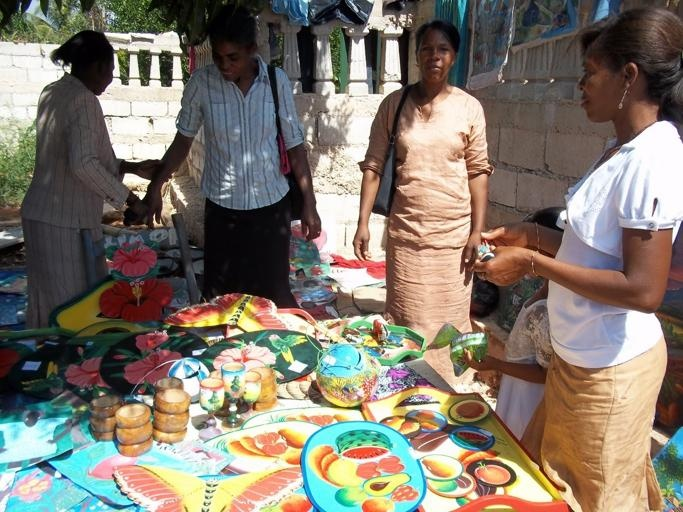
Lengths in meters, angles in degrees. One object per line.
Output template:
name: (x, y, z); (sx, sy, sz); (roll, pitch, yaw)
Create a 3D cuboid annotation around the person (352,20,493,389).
person: (0.518, -0.337, 3.806); (0.872, 2.397, 0.943); (0, 11, 0)

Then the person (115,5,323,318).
person: (-0.688, -0.596, 3.515); (0.857, 2.076, 0.942); (-1, 11, -9)

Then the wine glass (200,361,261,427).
wine glass: (-0.429, 0.483, 2.044); (0.202, 0.228, 0.273); (-12, 18, -35)

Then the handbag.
handbag: (0.305, -0.715, 3.487); (0.252, 0.838, 0.303); (2, 22, 6)

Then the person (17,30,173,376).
person: (-1.696, -0.488, 3.571); (0.919, 1.904, 0.785); (-7, 18, -30)
